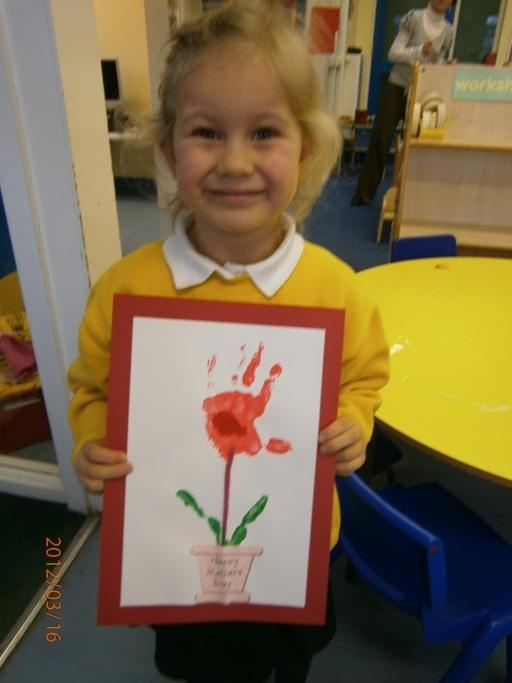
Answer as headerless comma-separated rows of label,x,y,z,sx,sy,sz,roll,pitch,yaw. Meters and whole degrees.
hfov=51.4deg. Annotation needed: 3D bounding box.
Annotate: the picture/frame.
picture/frame,-0.049,0.156,0.710,0.411,0.605,0.020,4,8,0
